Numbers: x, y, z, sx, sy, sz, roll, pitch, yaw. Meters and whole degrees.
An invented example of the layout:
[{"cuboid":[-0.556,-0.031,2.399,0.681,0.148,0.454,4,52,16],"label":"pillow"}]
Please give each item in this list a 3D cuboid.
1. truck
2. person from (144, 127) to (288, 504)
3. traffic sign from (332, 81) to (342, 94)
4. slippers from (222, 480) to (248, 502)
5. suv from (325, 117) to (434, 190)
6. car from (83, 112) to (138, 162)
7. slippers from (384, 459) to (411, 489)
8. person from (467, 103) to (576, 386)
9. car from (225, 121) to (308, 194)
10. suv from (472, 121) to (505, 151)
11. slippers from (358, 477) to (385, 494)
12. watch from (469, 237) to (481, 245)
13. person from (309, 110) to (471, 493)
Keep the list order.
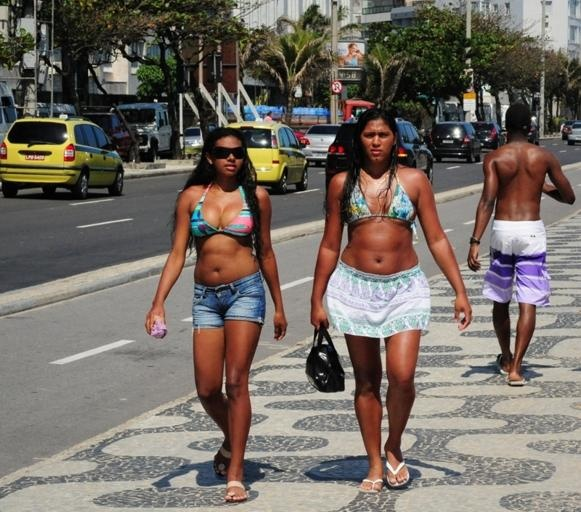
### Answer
[{"cuboid":[-7.076,-5.959,41.896,2.202,1.743,3.559,0,3,9],"label":"truck"},{"cuboid":[-0.353,0.233,4.208,0.629,1.654,0.752,0,7,6],"label":"person"},{"cuboid":[2.257,-8.641,46.073,0.702,0.613,0.153,-17,9,-34],"label":"traffic sign"},{"cuboid":[-0.242,1.023,4.020,0.108,0.095,0.201,-1,7,-3],"label":"slippers"},{"cuboid":[2.577,-3.084,26.759,2.206,1.717,4.608,1,9,19],"label":"suv"},{"cuboid":[-8.174,-5.217,38.926,2.224,2.257,4.132,5,8,0],"label":"car"},{"cuboid":[0.500,0.986,4.199,0.120,0.128,0.199,0,7,6],"label":"slippers"},{"cuboid":[1.626,-0.133,6.553,0.617,1.968,0.940,3,8,31],"label":"person"},{"cuboid":[-0.802,-2.995,27.459,2.086,1.881,4.112,0,8,13],"label":"car"},{"cuboid":[11.625,-6.911,53.598,2.268,1.627,4.735,1,12,15],"label":"suv"},{"cuboid":[0.369,1.031,4.107,0.104,0.061,0.088,0,7,3],"label":"slippers"},{"cuboid":[1.333,-0.117,6.540,0.062,0.038,0.076,4,1,36],"label":"watch"},{"cuboid":[0.446,0.189,4.134,0.711,1.726,0.425,1,7,16],"label":"person"}]
